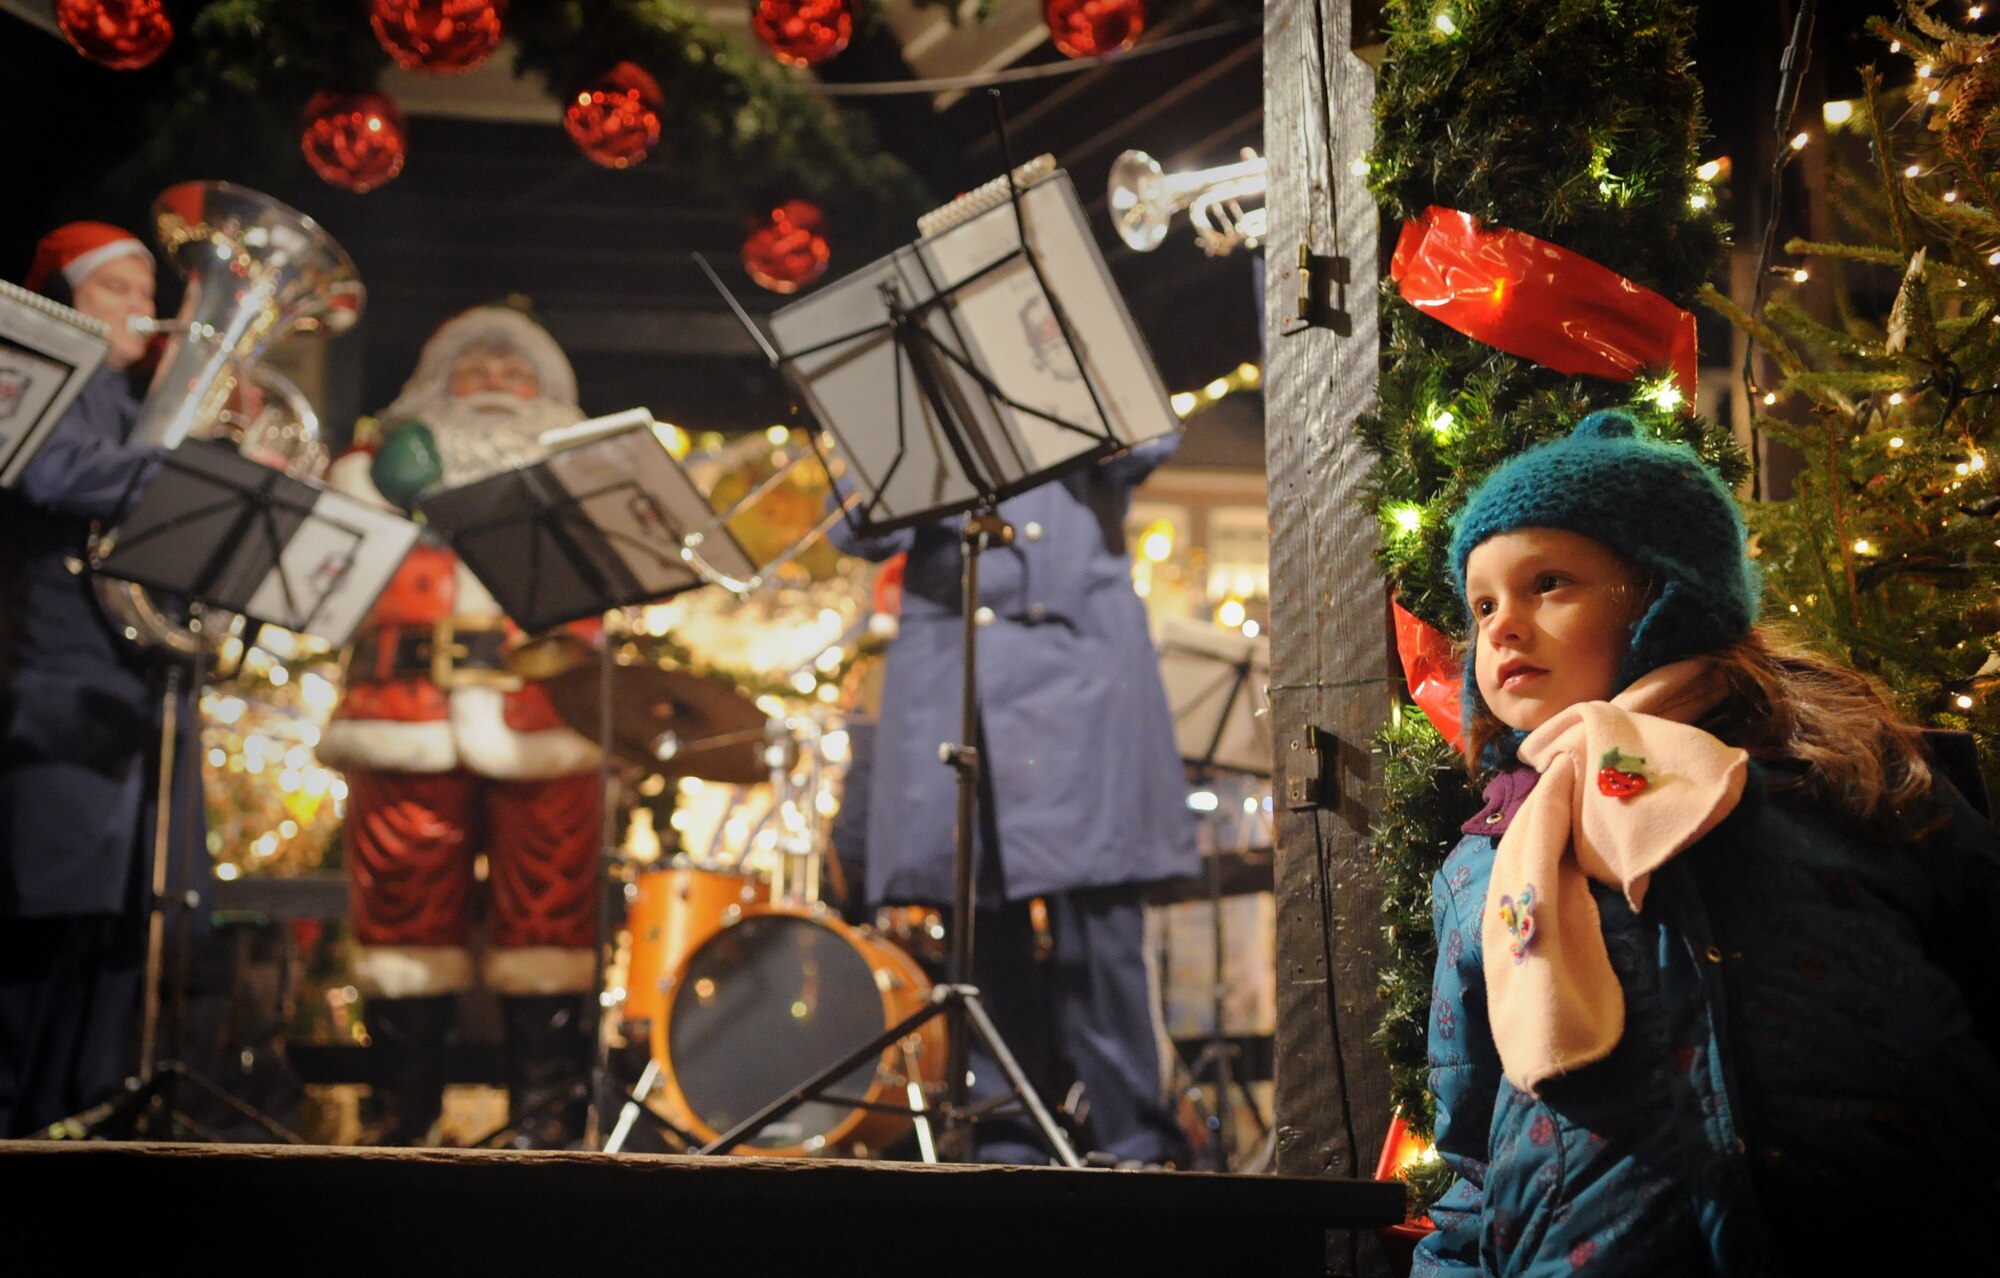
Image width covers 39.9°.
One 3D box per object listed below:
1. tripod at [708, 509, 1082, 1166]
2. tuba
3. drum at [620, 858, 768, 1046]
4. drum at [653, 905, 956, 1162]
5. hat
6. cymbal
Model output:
[{"bbox_3d":[-0.260,0.636,9.066,1.261,2.418,0.983,-2,-3,-22],"label":"tripod"},{"bbox_3d":[-2.821,-0.765,10.284,0.795,1.905,0.669,2,0,-26],"label":"tuba"},{"bbox_3d":[-1.144,1.277,10.818,0.685,0.722,0.681,9,2,4],"label":"drum"},{"bbox_3d":[-0.714,1.441,9.829,1.522,0.892,0.912,3,-2,-9],"label":"drum"},{"bbox_3d":[1.724,-0.135,7.622,0.596,1.094,0.589,-3,2,16],"label":"hat"},{"bbox_3d":[-1.337,0.320,11.143,0.721,0.172,0.662,27,-37,-19],"label":"cymbal"}]
